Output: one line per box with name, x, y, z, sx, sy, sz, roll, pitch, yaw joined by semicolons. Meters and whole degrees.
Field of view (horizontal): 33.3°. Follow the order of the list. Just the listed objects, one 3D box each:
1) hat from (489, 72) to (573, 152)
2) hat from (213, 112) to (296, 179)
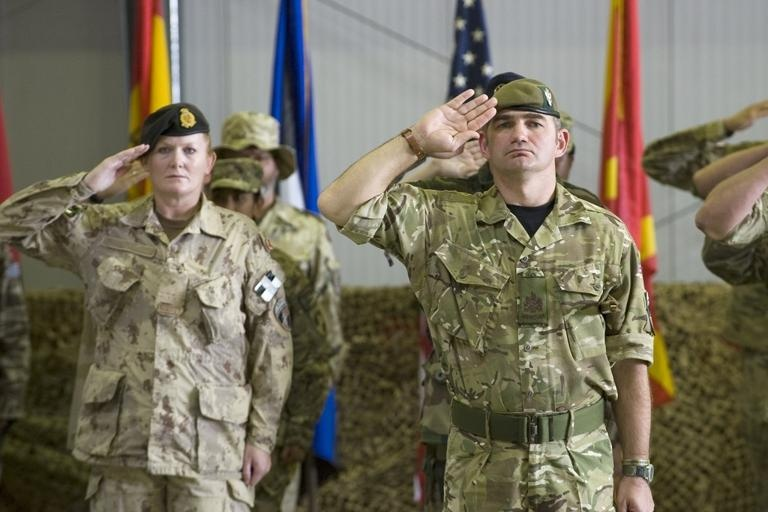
hat;0.729;-0.792;6.605;0.407;0.343;0.668;1;-10;5
hat;-0.767;-0.696;7.731;0.341;0.232;0.373;11;-24;-18
